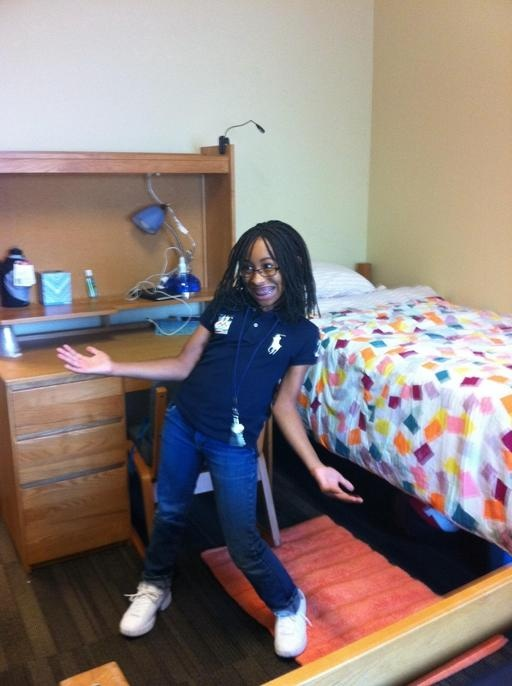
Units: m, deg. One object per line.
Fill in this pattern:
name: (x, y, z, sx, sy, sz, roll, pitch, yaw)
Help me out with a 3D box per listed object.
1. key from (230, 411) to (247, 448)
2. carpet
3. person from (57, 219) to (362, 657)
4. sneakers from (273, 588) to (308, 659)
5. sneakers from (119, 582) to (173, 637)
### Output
key: (-0.045, 0.212, 1.316, 0.035, 0.098, 0.031, 1, 11, 9)
carpet: (0.206, 0.540, 1.630, 0.580, 0.090, 0.880, -7, 10, -28)
person: (-0.050, 0.256, 1.428, 0.711, 1.133, 0.336, 3, 12, 20)
sneakers: (0.091, 0.753, 1.454, 0.072, 0.067, 0.172, -1, 16, 5)
sneakers: (-0.312, 0.744, 1.555, 0.084, 0.083, 0.188, 7, 8, 13)
